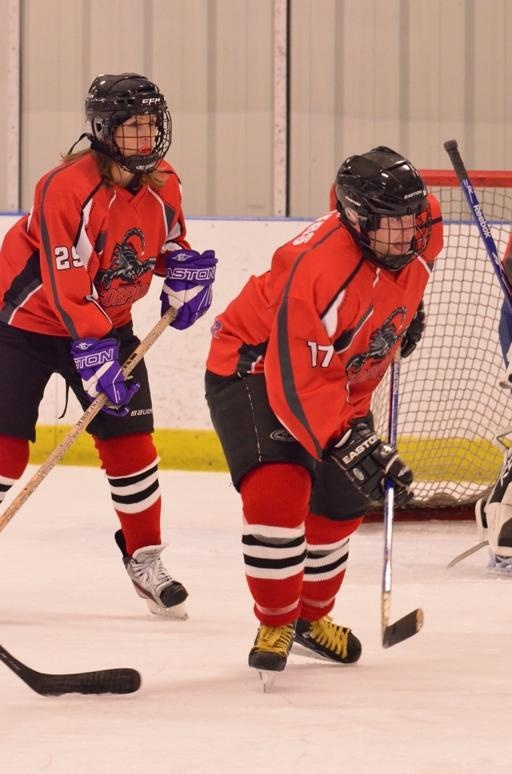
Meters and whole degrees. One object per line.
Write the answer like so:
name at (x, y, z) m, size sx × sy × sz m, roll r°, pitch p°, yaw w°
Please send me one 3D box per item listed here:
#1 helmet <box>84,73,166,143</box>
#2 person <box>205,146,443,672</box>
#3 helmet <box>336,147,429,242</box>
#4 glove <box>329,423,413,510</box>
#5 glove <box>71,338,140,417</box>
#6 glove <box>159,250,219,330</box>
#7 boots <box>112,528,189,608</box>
helmet at (-0.285, -0.594, 1.790) m, size 0.187 × 0.160 × 0.142 m, roll 10°, pitch 31°, yaw 29°
person at (0.089, 0.073, 1.532) m, size 0.420 × 1.025 × 0.302 m, roll 4°, pitch 15°, yaw 9°
helmet at (0.223, -0.333, 1.451) m, size 0.177 × 0.154 × 0.136 m, roll 23°, pitch 47°, yaw 32°
glove at (0.199, 0.151, 1.473) m, size 0.119 × 0.164 × 0.071 m, roll -43°, pitch 10°, yaw -30°
glove at (-0.302, -0.035, 1.798) m, size 0.122 × 0.179 × 0.055 m, roll -19°, pitch 27°, yaw 25°
glove at (-0.175, -0.257, 2.177) m, size 0.163 × 0.208 × 0.130 m, roll 10°, pitch 14°, yaw 22°
boots at (-0.251, 0.459, 2.071) m, size 0.087 × 0.113 × 0.265 m, roll -26°, pitch 40°, yaw -18°
